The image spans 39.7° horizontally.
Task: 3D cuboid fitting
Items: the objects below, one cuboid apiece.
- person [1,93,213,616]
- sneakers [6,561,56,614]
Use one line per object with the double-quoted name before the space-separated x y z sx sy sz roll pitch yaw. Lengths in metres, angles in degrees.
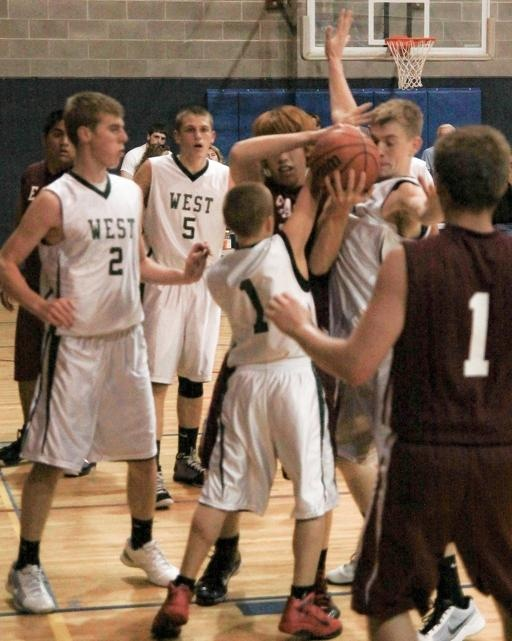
"person" -0.600 0.083 2.525 0.602 1.805 0.339 -1 5 -10
"sneakers" -0.778 0.919 2.424 0.102 0.103 0.212 -2 16 -35
